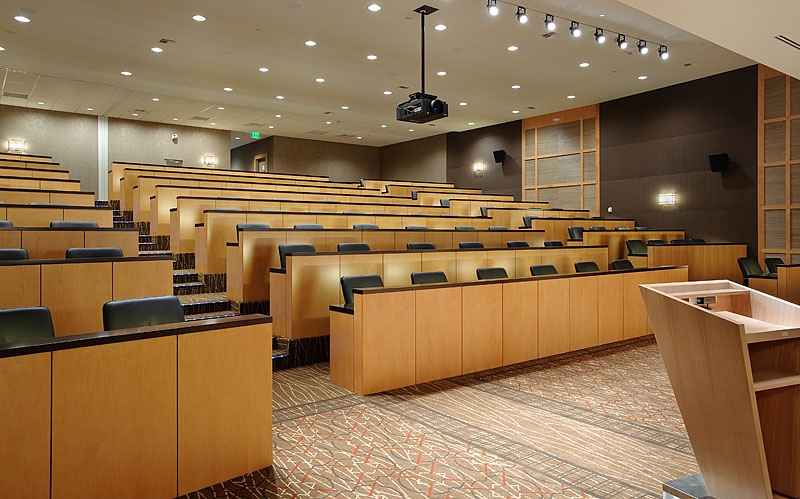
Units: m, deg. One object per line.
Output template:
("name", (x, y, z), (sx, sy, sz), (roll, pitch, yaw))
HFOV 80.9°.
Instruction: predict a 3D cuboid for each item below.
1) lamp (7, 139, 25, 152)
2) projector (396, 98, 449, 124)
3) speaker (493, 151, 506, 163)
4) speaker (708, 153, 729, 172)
("lamp", (-11.987, -3.181, 14.677), (0.489, 0.460, 0.372), (-1, 1, -31))
("projector", (0.406, -2.692, 8.795), (0.567, 0.338, 0.771), (0, -1, -35))
("speaker", (3.518, -3.248, 16.760), (0.424, 0.581, 0.427), (-1, 5, 1))
("speaker", (7.871, -2.109, 11.496), (0.272, 0.499, 0.530), (0, -1, -37))
